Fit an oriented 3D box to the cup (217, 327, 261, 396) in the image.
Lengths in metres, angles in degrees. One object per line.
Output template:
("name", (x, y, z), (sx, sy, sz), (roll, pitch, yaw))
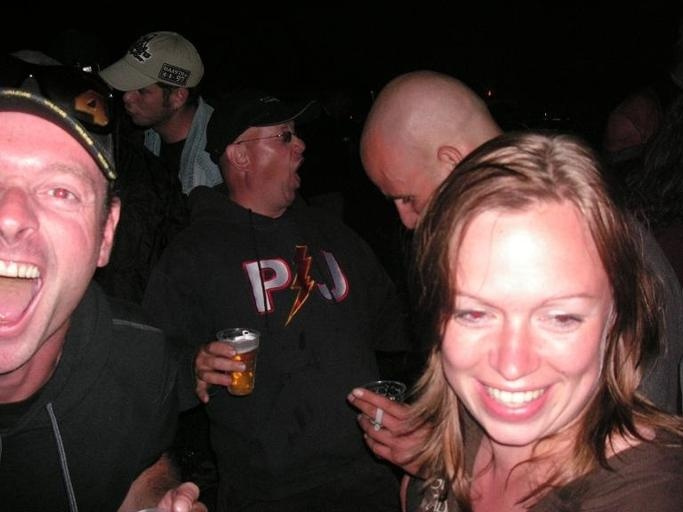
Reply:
("cup", (-0.571, 0.624, 3.731), (0.229, 0.359, 0.370), (-3, 11, -11))
